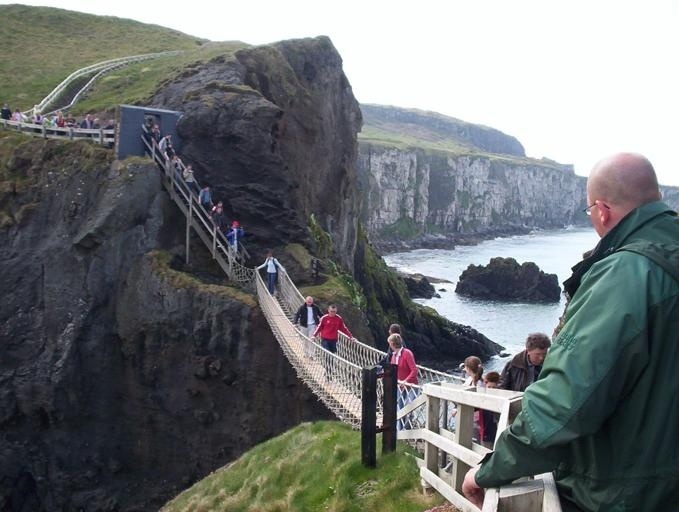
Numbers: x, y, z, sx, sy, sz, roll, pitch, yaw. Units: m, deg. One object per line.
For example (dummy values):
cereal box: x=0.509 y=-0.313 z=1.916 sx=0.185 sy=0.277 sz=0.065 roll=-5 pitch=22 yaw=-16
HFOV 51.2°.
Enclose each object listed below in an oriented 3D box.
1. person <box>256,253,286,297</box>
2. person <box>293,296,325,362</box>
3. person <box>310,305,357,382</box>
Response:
person: x=-2.234 y=0.653 z=22.644 sx=0.820 sy=0.515 sz=1.323 roll=-18 pitch=45 yaw=9
person: x=-0.757 y=1.933 z=18.461 sx=0.890 sy=1.912 sz=0.517 roll=18 pitch=24 yaw=41
person: x=-0.189 y=1.981 z=16.859 sx=0.897 sy=1.727 sz=0.608 roll=7 pitch=25 yaw=3
